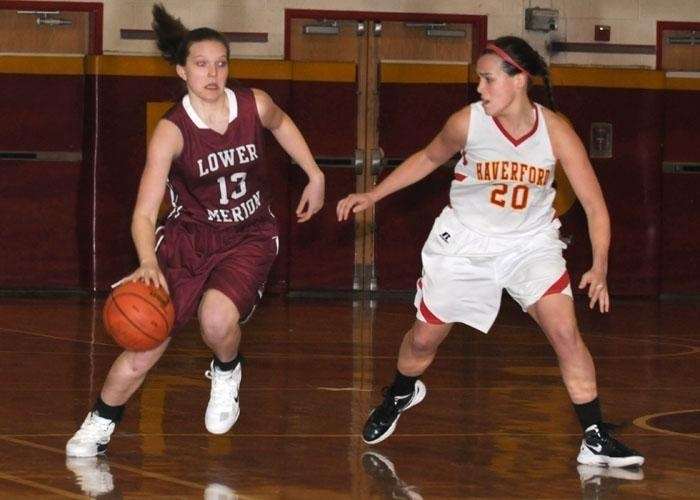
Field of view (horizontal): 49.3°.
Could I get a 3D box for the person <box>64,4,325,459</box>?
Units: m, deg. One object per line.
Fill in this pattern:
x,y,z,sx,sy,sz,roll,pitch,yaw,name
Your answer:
-0.691,-0.098,3.520,1.183,1.997,0.510,-4,10,-30,person

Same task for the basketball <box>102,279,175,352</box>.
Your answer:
-0.870,0.259,3.325,0.307,0.330,0.294,15,-1,-16,basketball

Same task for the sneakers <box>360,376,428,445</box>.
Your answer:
0.190,0.788,3.749,0.437,0.170,0.162,-43,55,-18,sneakers

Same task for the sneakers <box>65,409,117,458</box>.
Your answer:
-1.150,0.836,3.465,0.121,0.130,0.322,3,-2,9,sneakers

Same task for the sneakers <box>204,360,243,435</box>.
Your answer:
-0.631,0.675,3.650,0.149,0.387,0.171,1,-33,3,sneakers

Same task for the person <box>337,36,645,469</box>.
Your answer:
0.702,-0.014,3.514,1.209,1.897,0.424,4,9,17,person
